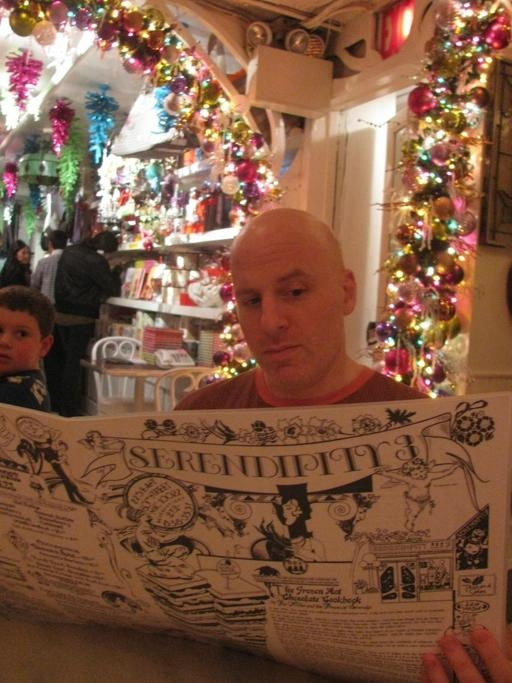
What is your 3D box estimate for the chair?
[{"bbox_3d":[-0.512,0.144,3.135,0.685,0.387,0.424,0,-1,-35],"label":"chair"}]
